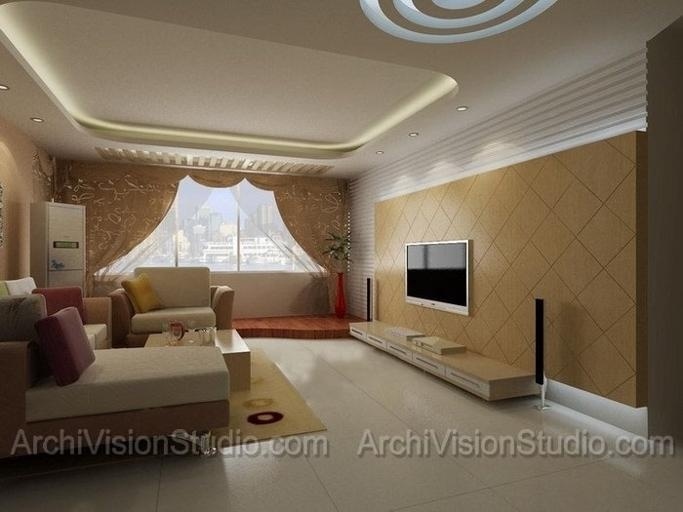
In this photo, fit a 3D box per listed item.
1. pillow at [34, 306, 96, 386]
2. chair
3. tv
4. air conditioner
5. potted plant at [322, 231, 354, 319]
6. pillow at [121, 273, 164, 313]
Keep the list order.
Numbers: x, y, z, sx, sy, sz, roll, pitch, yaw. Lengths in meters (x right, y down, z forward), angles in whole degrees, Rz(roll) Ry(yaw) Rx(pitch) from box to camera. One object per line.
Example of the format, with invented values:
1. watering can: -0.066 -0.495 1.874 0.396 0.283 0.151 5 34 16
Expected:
1. pillow: -2.136 0.679 3.429 0.233 0.515 0.698 -9 3 -20
2. chair: -2.420 0.791 6.346 1.523 1.173 1.122 0 -1 -25
3. tv: 1.243 0.262 5.938 0.079 0.907 1.221 0 1 -30
4. air conditioner: -3.859 -0.117 6.148 0.194 1.217 0.499 -12 -10 43
5. potted plant: -0.110 0.350 8.637 0.554 1.656 0.803 1 5 8
6. pillow: -2.782 0.557 6.191 0.263 0.517 0.566 -6 7 2
